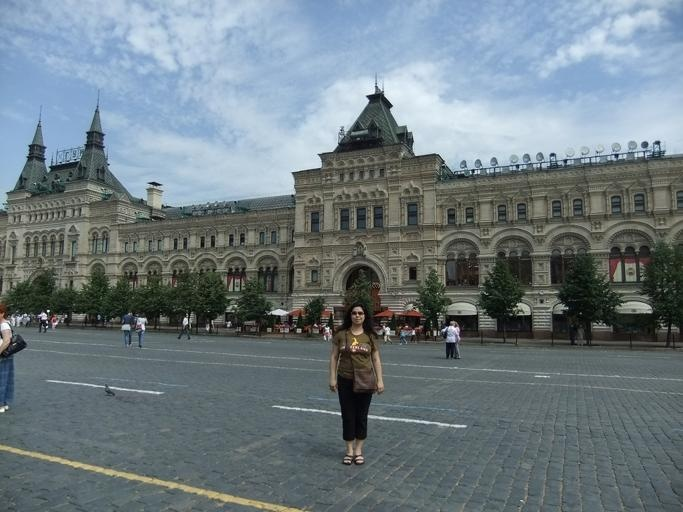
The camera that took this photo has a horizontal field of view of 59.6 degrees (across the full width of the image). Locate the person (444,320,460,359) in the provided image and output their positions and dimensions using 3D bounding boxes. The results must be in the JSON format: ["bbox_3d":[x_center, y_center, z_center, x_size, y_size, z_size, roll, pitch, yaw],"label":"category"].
[{"bbox_3d":[5.534,4.091,29.357,0.654,1.783,1.320,0,-1,10],"label":"person"}]

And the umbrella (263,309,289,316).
[{"bbox_3d":[-6.680,5.690,60.248,1.295,0.483,1.313,9,-15,-42],"label":"umbrella"}]

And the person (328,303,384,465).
[{"bbox_3d":[0.294,2.379,11.194,0.952,2.936,0.615,0,-1,1],"label":"person"}]

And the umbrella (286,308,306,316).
[{"bbox_3d":[-4.386,5.612,59.438,1.266,0.651,2.745,0,-1,-1],"label":"umbrella"}]

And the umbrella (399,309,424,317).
[{"bbox_3d":[6.245,5.197,53.317,1.704,0.766,3.433,0,-1,1],"label":"umbrella"}]

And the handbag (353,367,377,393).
[{"bbox_3d":[0.430,2.293,10.971,0.508,0.426,0.183,3,-16,-11],"label":"handbag"}]
